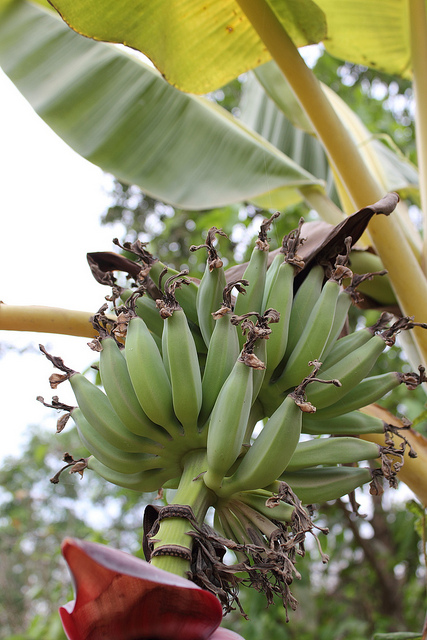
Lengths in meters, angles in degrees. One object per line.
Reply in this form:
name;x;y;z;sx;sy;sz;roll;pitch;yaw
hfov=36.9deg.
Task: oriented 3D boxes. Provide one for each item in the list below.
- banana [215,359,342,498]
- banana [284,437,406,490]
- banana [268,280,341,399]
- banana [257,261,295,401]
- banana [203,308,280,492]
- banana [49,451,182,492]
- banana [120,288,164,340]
banana;0.161;0.278;1.593;0.132;0.161;0.502;-43;0;42
banana;0.337;0.374;1.661;0.367;0.095;0.119;3;-17;0
banana;0.244;0.062;1.750;0.339;0.077;0.125;-58;8;-7
banana;0.182;0.031;1.796;0.089;0.381;0.099;16;-5;1
banana;0.059;0.194;1.552;0.155;0.429;0.128;1;-17;31
banana;-0.236;0.416;1.744;0.324;0.096;0.101;7;-32;-20
banana;-0.202;-0.014;1.801;0.045;0.160;0.059;-43;2;31
